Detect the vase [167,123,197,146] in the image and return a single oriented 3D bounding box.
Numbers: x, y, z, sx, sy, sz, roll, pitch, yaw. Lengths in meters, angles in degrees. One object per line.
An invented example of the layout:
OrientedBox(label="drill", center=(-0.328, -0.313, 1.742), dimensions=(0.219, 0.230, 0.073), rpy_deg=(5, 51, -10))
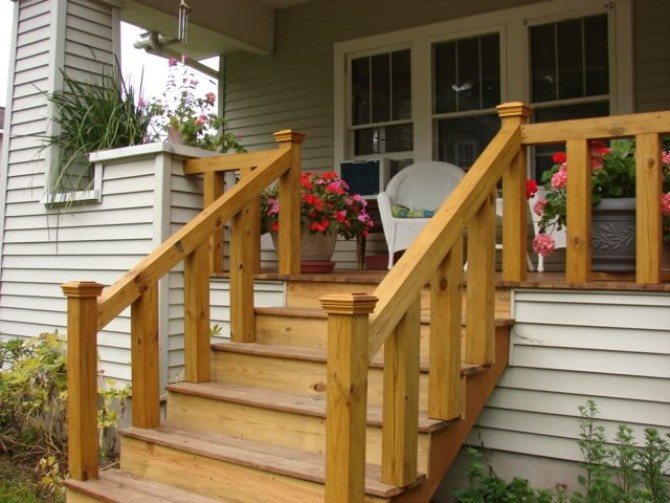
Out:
OrientedBox(label="vase", center=(-1.207, -0.903, 4.554), dimensions=(0.109, 0.142, 0.268), rpy_deg=(2, 2, 28))

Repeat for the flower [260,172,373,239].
OrientedBox(label="flower", center=(-0.095, -0.325, 4.717), dimensions=(0.548, 0.368, 0.536), rpy_deg=(-18, 6, 14))

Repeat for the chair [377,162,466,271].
OrientedBox(label="chair", center=(0.701, -0.331, 5.134), dimensions=(0.811, 1.116, 0.933), rpy_deg=(-1, 3, 11))

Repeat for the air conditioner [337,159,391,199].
OrientedBox(label="air conditioner", center=(0.242, -0.834, 6.242), dimensions=(0.509, 0.465, 0.306), rpy_deg=(-7, 28, -15))

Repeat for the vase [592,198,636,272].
OrientedBox(label="vase", center=(1.649, -0.095, 3.556), dimensions=(0.354, 0.305, 0.372), rpy_deg=(0, 0, 24))

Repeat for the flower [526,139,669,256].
OrientedBox(label="flower", center=(1.668, -0.220, 3.734), dimensions=(0.750, 0.577, 0.796), rpy_deg=(-2, -9, 6))

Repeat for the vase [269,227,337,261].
OrientedBox(label="vase", center=(-0.190, -0.026, 4.582), dimensions=(0.287, 0.196, 0.303), rpy_deg=(-1, -2, 23))

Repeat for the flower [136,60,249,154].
OrientedBox(label="flower", center=(-1.199, -1.239, 4.882), dimensions=(0.707, 0.828, 0.619), rpy_deg=(-1, 3, -42))
